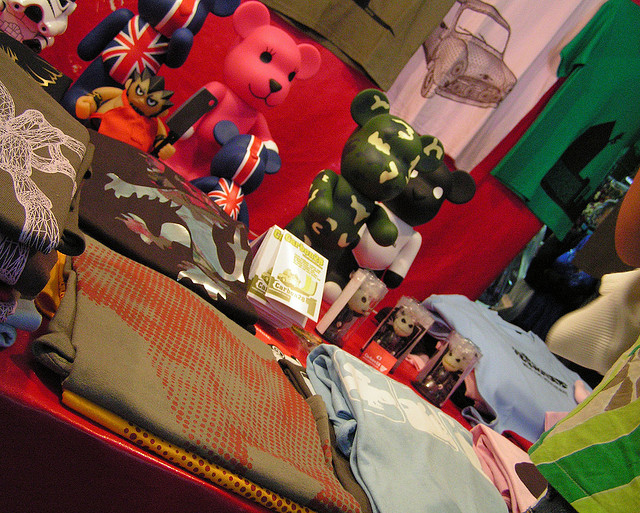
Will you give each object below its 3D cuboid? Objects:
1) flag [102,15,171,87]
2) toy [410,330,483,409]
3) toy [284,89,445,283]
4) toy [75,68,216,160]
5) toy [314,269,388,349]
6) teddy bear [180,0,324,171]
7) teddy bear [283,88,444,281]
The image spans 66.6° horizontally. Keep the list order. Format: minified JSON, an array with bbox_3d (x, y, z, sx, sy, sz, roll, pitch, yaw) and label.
[{"bbox_3d":[-0.609,-0.649,1.631,0.180,0.254,0.092,39,-15,-19],"label":"flag"},{"bbox_3d":[0.421,0.392,1.588,0.161,0.229,0.167,38,2,-10],"label":"toy"},{"bbox_3d":[0.153,-0.294,1.856,0.378,0.736,0.334,28,14,-28],"label":"toy"},{"bbox_3d":[-0.533,-0.467,1.506,0.344,0.256,0.195,35,6,-25],"label":"toy"},{"bbox_3d":[0.097,0.131,1.562,0.144,0.266,0.156,32,28,-14],"label":"toy"},{"bbox_3d":[-0.263,-0.645,1.776,0.355,0.605,0.278,34,5,-43],"label":"teddy bear"},{"bbox_3d":[0.143,-0.210,1.794,0.344,0.724,0.307,28,19,-7],"label":"teddy bear"}]
